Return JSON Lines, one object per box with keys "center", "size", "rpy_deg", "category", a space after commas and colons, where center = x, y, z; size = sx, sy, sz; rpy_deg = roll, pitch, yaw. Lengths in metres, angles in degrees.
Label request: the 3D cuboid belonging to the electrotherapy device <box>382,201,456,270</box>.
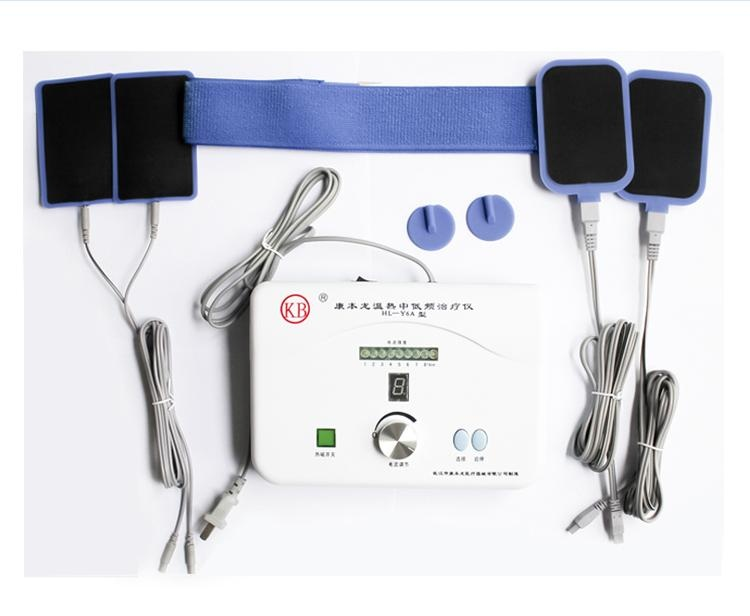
{"center": [0.131, -0.189, 1.943], "size": [0.116, 0.064, 0.097], "rpy_deg": [-16, -58, 18], "category": "electrotherapy device"}
